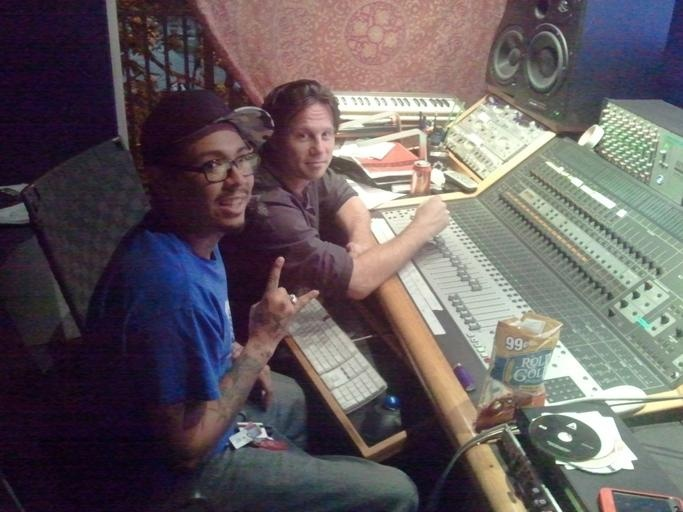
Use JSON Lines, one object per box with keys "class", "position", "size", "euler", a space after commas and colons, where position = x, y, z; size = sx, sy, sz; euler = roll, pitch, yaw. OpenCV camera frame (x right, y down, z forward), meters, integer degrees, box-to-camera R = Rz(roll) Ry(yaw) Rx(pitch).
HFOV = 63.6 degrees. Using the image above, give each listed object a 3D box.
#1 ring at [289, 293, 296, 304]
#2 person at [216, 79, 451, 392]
{"class": "ring", "position": [-0.165, 0.147, 1.858], "size": [0.008, 0.031, 0.031], "euler": [-51, 23, 27]}
{"class": "person", "position": [0.019, -0.077, 2.427], "size": [0.859, 1.309, 0.781], "euler": [23, 31, 38]}
